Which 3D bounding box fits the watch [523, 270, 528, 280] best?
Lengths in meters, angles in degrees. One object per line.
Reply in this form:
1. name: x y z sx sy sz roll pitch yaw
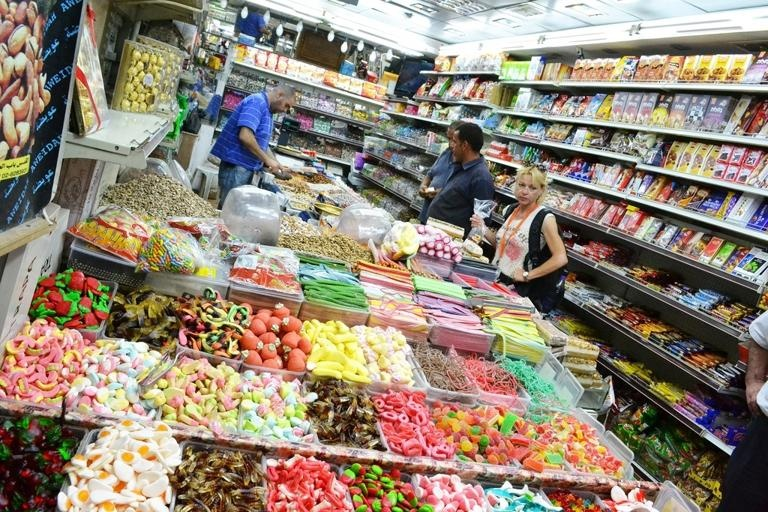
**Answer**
1. watch: 1.193 0.174 4.113 0.044 0.060 0.066 5 2 20
